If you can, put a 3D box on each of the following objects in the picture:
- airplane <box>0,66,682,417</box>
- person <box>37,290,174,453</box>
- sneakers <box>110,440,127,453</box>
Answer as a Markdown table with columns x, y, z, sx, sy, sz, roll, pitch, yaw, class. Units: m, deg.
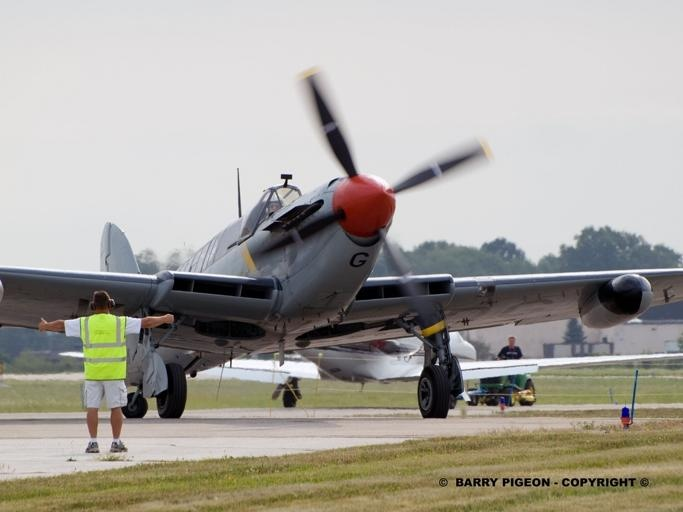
| x | y | z | sx | sy | sz | roll | pitch | yaw | class |
| --- | --- | --- | --- | --- | --- | --- | --- | --- | --- |
| -0.426 | 0.090 | 20.806 | 10.316 | 5.346 | 6.715 | 0 | -3 | 5 | airplane |
| -3.002 | 1.449 | 15.697 | 1.261 | 2.010 | 0.573 | 1 | -3 | -10 | person |
| -2.779 | 2.369 | 15.607 | 0.251 | 0.148 | 0.235 | 2 | -3 | -21 | sneakers |
